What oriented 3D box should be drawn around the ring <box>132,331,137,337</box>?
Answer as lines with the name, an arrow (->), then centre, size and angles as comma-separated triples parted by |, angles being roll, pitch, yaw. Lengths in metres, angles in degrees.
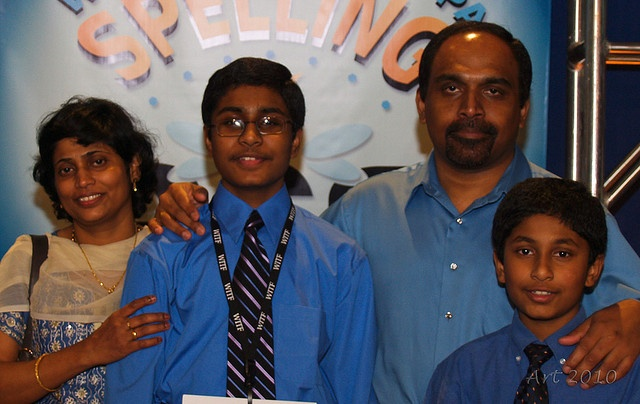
ring -> -0.885, 0.630, 3.279 | 0.010, 0.036, 0.009 | -14, -32, -20

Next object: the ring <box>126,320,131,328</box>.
ring -> -0.915, 0.588, 3.286 | 0.017, 0.024, 0.006 | -4, 6, 41

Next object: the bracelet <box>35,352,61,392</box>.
bracelet -> -1.331, 0.853, 3.438 | 0.042, 0.163, 0.163 | -8, 4, 0

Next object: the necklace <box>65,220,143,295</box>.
necklace -> -1.181, 0.308, 3.662 | 0.340, 0.338, 0.086 | -6, -16, -20

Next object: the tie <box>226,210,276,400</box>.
tie -> -0.343, 0.488, 3.339 | 0.234, 0.874, 0.297 | -3, 6, -5
